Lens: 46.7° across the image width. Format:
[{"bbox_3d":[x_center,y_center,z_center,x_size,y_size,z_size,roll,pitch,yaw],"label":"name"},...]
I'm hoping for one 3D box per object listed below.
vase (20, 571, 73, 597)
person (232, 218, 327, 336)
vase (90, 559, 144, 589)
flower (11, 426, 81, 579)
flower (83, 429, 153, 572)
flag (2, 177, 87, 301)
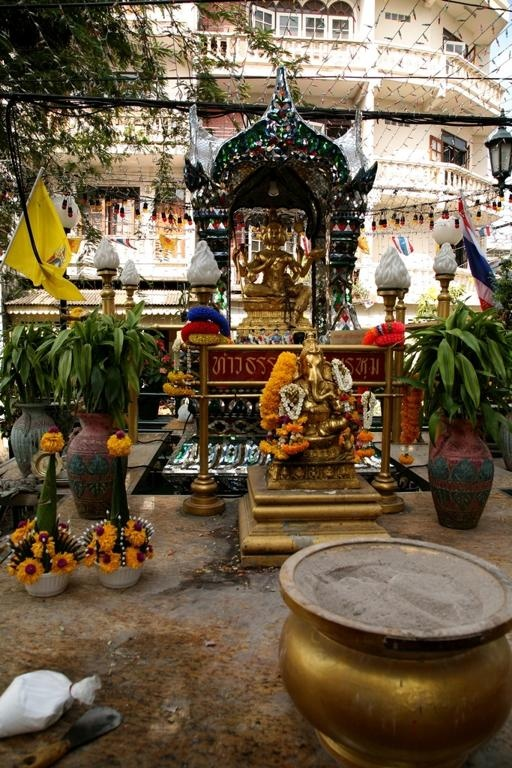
[{"bbox_3d":[-1.033,0.962,2.915,0.147,0.073,0.149,1,-2,-7],"label":"vase"},{"bbox_3d":[0.227,-1.250,6.723,0.942,1.457,0.737,0,5,-5],"label":"person"},{"bbox_3d":[-0.690,0.951,3.019,0.157,0.072,0.160,0,-5,6],"label":"vase"},{"bbox_3d":[-1.059,0.638,2.962,0.352,0.834,0.396,-2,5,-18],"label":"flower"},{"bbox_3d":[-0.717,0.616,3.058,0.349,0.801,0.385,-1,5,-16],"label":"flower"},{"bbox_3d":[-2.326,-1.655,6.456,0.775,1.516,2.179,-1,5,-16],"label":"flag"}]
